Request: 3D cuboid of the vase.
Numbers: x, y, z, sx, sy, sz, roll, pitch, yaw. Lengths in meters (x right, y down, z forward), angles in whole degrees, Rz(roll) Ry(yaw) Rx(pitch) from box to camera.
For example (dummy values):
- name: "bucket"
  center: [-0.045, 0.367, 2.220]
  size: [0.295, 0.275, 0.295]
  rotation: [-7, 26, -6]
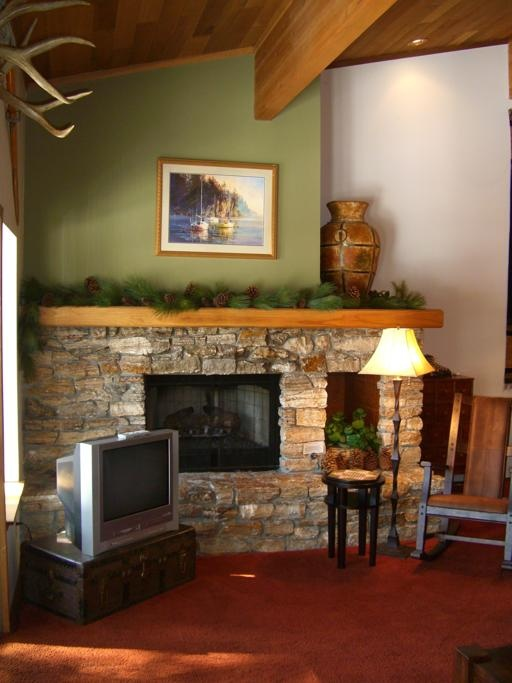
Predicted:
- name: "vase"
  center: [0.706, -0.731, 4.296]
  size: [0.406, 0.779, 0.384]
  rotation: [0, -2, 23]

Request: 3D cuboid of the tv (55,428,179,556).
- name: "tv"
  center: [-0.634, 0.649, 2.851]
  size: [0.509, 0.623, 0.711]
  rotation: [0, 2, 35]

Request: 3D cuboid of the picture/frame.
- name: "picture/frame"
  center: [-0.309, -0.934, 3.940]
  size: [0.824, 0.606, 0.031]
  rotation: [1, 1, -6]

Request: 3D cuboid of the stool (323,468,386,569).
- name: "stool"
  center: [0.595, 1.079, 3.366]
  size: [0.384, 0.465, 0.379]
  rotation: [7, -16, -19]

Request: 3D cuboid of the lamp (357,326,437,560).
- name: "lamp"
  center: [0.915, 0.619, 3.679]
  size: [0.436, 1.410, 0.641]
  rotation: [1, -2, 17]

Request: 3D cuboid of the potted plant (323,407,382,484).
- name: "potted plant"
  center: [0.704, 0.730, 4.074]
  size: [0.367, 0.158, 0.467]
  rotation: [-1, 22, 0]
